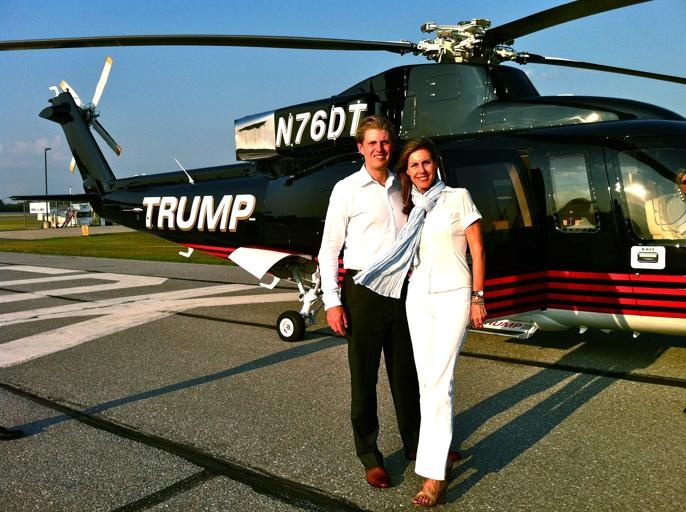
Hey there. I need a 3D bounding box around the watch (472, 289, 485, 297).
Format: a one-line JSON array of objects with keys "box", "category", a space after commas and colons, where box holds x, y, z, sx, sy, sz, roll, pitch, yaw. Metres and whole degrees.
[{"box": [0.964, 0.251, 3.639, 0.076, 0.036, 0.063, 6, -11, -33], "category": "watch"}]

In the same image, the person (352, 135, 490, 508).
[{"box": [0.617, 0.347, 3.669, 0.678, 2.317, 0.648, 4, 13, 29], "category": "person"}]

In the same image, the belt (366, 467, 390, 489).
[{"box": [0.259, 1.633, 3.834, 0.106, 0.075, 0.222, 3, -10, -19], "category": "belt"}]
